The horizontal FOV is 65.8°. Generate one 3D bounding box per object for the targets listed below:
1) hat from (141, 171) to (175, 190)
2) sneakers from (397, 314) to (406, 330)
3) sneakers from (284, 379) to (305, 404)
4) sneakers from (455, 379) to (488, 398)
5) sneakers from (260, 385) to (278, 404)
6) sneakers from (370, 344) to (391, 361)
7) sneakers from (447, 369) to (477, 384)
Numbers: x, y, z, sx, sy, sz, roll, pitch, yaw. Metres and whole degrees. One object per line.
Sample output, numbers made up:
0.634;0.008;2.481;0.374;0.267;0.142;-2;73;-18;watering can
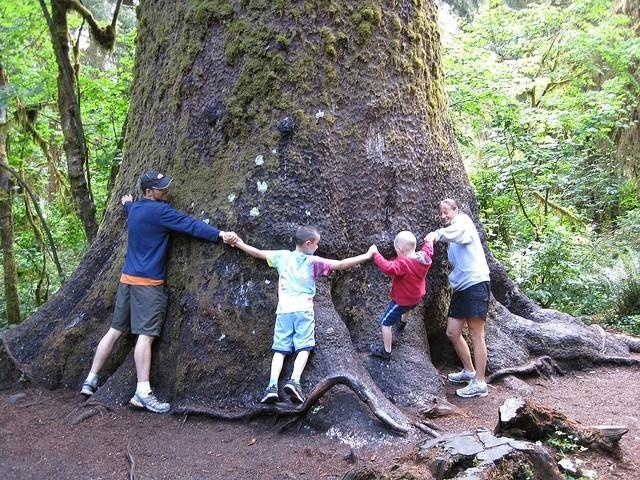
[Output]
-2.076;-0.738;6.251;0.296;0.173;0.224;-4;19;-8;hat
1.073;1.070;6.423;0.092;0.196;0.195;4;19;-6;sneakers
-0.270;1.696;5.537;0.131;0.165;0.352;-18;-62;40;sneakers
2.000;1.966;6.558;0.413;0.225;0.183;1;-1;-7;sneakers
-0.567;1.728;5.540;0.110;0.139;0.285;11;-32;-20;sneakers
0.767;1.404;6.232;0.231;0.108;0.134;24;16;8;sneakers
1.926;1.870;6.747;0.369;0.208;0.153;0;6;4;sneakers
